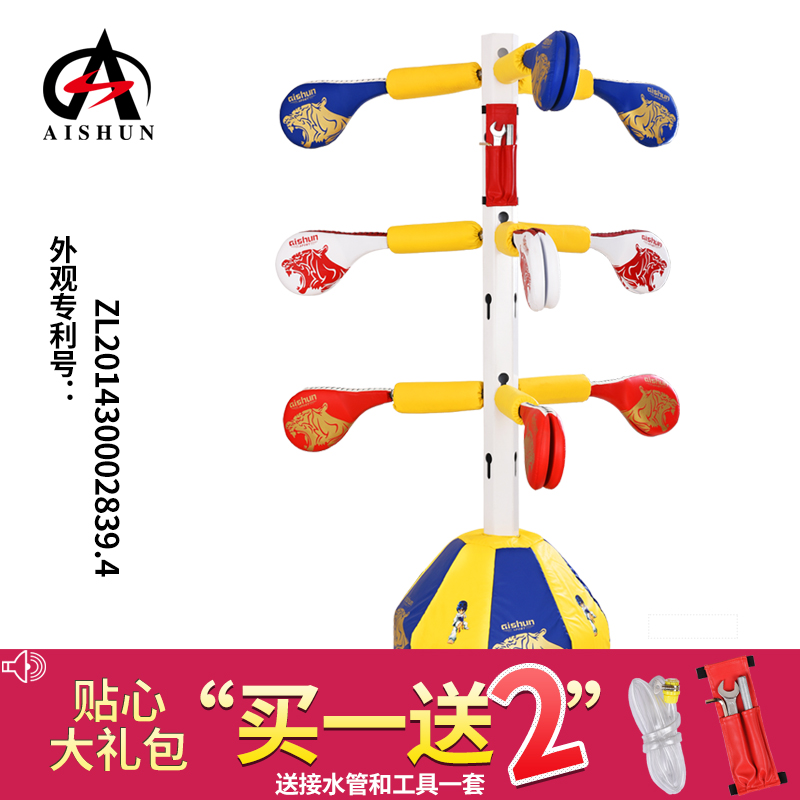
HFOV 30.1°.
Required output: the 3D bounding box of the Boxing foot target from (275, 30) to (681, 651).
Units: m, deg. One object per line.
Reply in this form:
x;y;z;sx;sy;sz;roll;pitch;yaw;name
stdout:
0.174;-0.119;2.699;0.790;1.149;0.659;-1;-8;-6;Boxing foot target
